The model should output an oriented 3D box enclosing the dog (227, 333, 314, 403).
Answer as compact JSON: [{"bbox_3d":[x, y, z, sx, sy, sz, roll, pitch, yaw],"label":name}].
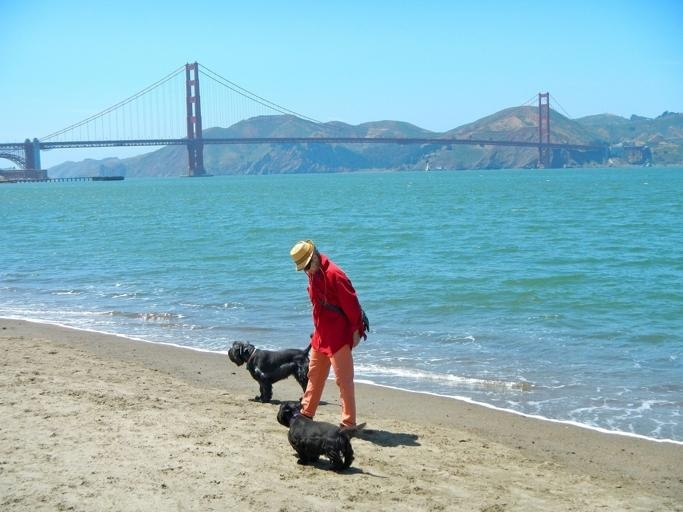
[{"bbox_3d":[-0.629,1.229,10.103,1.354,0.701,0.385,-3,2,30],"label":"dog"}]

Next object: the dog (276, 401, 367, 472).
[{"bbox_3d":[-0.202,1.761,8.787,1.125,0.485,0.391,1,9,45],"label":"dog"}]

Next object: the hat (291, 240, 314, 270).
[{"bbox_3d":[-0.362,-0.020,8.832,0.312,0.275,0.119,-5,-39,38],"label":"hat"}]
